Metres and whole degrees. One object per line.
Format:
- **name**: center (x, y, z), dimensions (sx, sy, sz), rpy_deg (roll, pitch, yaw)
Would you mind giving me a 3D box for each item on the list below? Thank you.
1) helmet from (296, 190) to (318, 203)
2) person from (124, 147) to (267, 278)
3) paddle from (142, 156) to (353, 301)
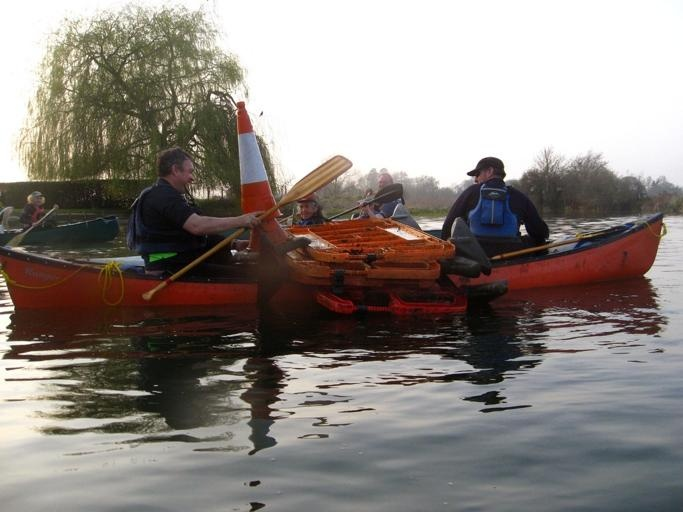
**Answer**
- **helmet**: center (-0.438, -0.729, 9.256), dimensions (0.286, 0.097, 0.168), rpy_deg (-1, -2, -9)
- **person**: center (-1.612, -0.469, 7.691), dimensions (1.324, 1.314, 0.641), rpy_deg (0, -1, -4)
- **paddle**: center (-0.982, -0.259, 8.733), dimensions (3.092, 0.095, 0.312), rpy_deg (-27, -55, 28)
